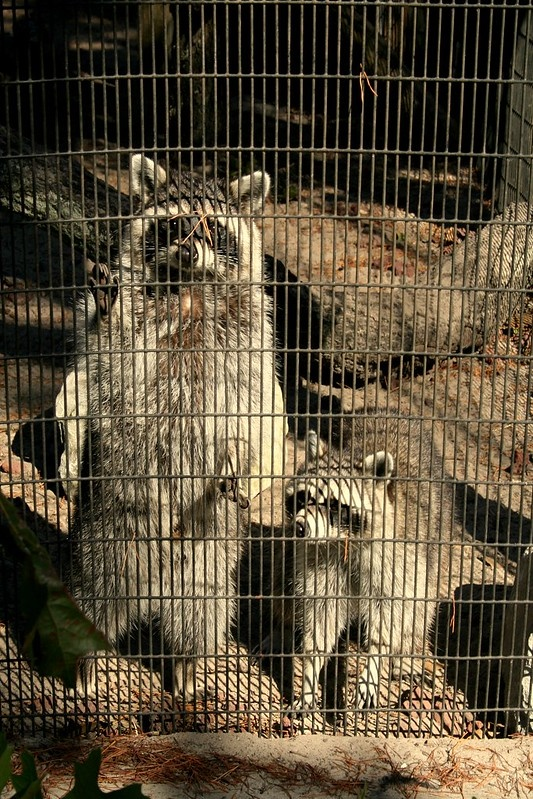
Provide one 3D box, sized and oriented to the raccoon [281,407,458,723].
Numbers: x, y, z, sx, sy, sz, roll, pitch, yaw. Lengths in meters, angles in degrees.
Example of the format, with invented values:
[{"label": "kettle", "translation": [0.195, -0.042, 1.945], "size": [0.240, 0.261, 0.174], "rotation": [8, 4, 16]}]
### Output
[{"label": "raccoon", "translation": [0.506, 0.805, 7.251], "size": [0.863, 1.562, 1.865], "rotation": [5, 16, 20]}]
